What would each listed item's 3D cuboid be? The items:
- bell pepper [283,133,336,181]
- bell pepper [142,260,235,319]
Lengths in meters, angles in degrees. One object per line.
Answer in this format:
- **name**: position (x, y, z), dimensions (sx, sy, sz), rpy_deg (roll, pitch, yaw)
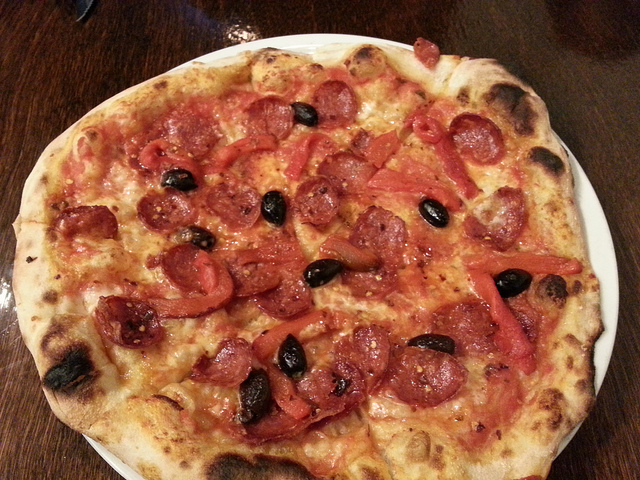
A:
- **bell pepper**: position (-0.126, -0.678, 6.270), dimensions (0.323, 0.101, 0.429), rpy_deg (46, 73, -1)
- **bell pepper**: position (-0.915, 0.427, 5.777), dimensions (0.618, 0.151, 0.302), rpy_deg (-30, 86, -3)
